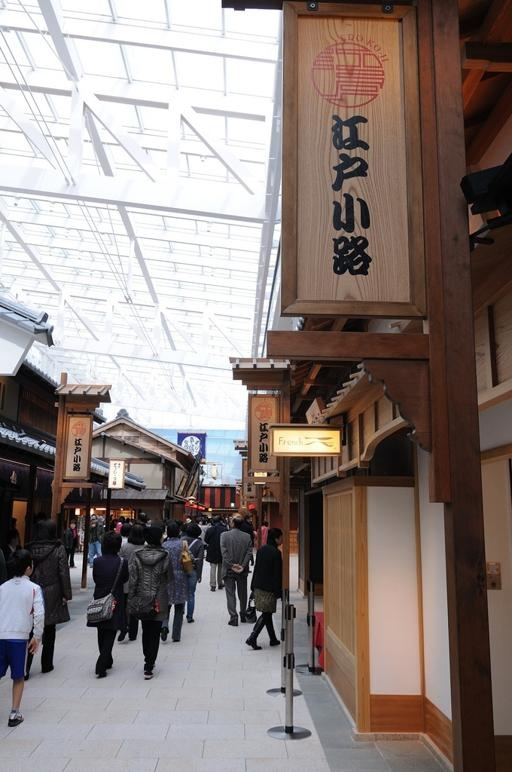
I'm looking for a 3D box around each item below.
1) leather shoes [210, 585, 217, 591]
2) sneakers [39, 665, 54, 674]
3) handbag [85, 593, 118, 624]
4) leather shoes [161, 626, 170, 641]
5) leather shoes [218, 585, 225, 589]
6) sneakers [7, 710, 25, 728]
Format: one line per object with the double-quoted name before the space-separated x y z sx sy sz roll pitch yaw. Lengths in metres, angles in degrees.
"leather shoes" -1.228 5.821 15.372 0.113 0.161 0.133 0 -25 5
"sneakers" -2.665 3.633 6.871 0.070 0.133 0.127 1 -25 2
"handbag" -1.836 2.691 6.422 0.313 0.364 0.212 5 -15 -16
"leather shoes" -1.477 4.061 8.754 0.071 0.250 0.096 3 0 -1
"leather shoes" -1.025 6.052 16.199 0.157 0.133 0.163 -1 -5 14
"sneakers" -2.165 3.020 4.861 0.069 0.148 0.192 0 -4 6
